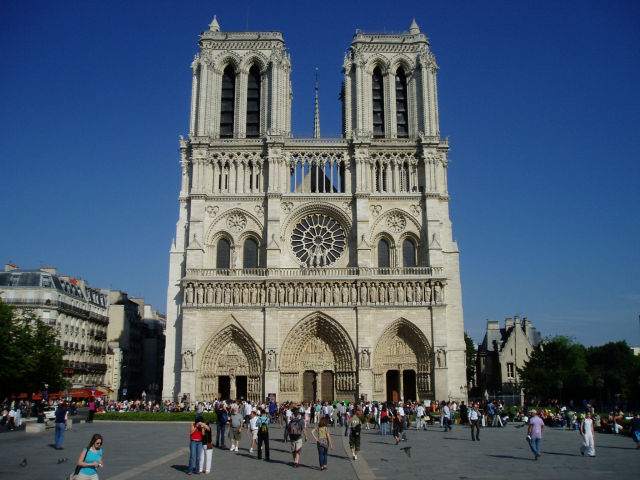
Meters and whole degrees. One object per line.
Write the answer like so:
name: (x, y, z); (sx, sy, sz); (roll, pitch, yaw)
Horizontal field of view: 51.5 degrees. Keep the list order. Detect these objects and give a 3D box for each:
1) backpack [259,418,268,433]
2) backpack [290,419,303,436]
backpack: (-2.333, 7.615, 27.343); (0.489, 0.571, 0.310); (1, -32, -4)
backpack: (-0.991, 7.443, 26.191); (0.589, 0.768, 0.442); (4, -37, -4)
